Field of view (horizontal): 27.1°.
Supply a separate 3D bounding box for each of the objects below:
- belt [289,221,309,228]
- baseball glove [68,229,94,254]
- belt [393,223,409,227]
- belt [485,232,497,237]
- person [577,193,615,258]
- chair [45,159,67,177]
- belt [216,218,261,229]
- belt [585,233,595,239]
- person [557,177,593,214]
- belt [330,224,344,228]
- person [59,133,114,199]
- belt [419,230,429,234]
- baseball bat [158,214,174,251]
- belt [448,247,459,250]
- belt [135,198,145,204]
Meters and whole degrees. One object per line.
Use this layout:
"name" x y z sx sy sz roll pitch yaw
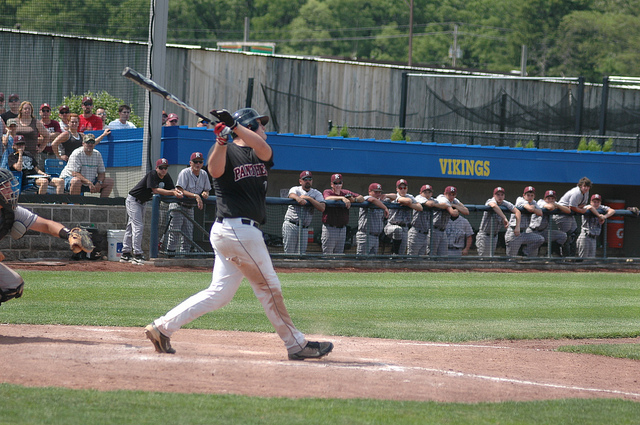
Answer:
"belt" -0.634 0.365 40.080 0.601 0.186 0.092 1 2 -23
"baseball glove" -5.888 0.782 32.016 0.589 0.252 0.570 33 26 -2
"belt" 2.466 0.389 40.628 0.521 0.113 0.057 1 2 -24
"belt" 5.346 0.707 41.488 0.407 0.118 0.076 1 2 -19
"person" 8.690 0.446 42.081 0.997 1.989 0.463 1 2 -17
"chair" -8.206 -1.417 41.104 0.725 0.608 0.559 3 -3 -11
"belt" -2.008 0.268 32.160 1.046 0.242 0.229 1 2 -7
"belt" 8.544 0.734 42.132 0.168 0.113 0.163 2 4 -12
"person" 8.142 -0.559 42.183 0.883 1.104 1.099 -4 13 -45
"belt" 0.492 0.413 40.210 0.443 0.093 0.086 1 2 -10
"person" -7.062 -1.390 40.037 1.456 1.940 0.892 1 2 -23
"belt" 3.190 0.603 40.865 0.308 0.115 0.026 1 2 -17
"baseball bat" -4.633 0.560 39.419 0.175 1.132 0.164 31 -2 -33
"belt" 4.134 1.119 41.156 0.325 0.059 0.009 1 2 -12
"belt" -5.336 -0.334 39.101 0.291 0.165 0.044 0 2 -31
